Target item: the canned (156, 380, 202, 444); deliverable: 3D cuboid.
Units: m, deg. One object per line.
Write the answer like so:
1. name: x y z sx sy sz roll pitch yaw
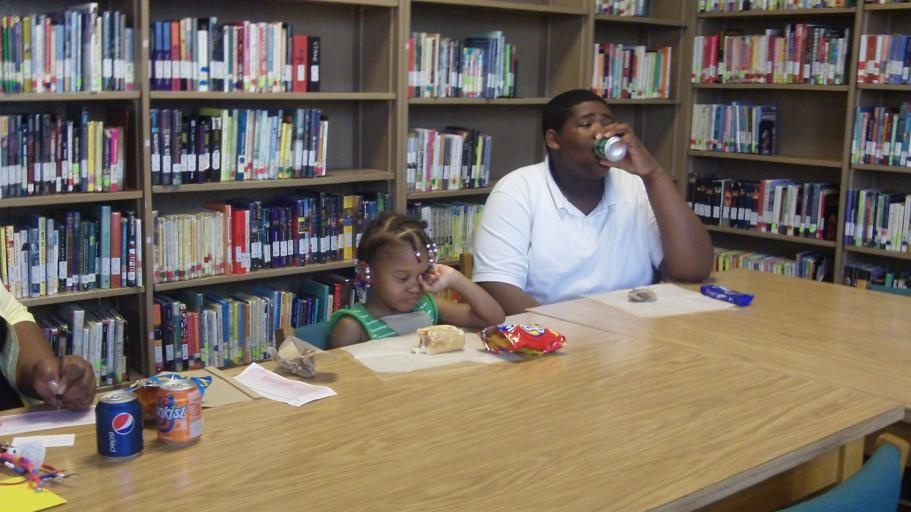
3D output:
1. canned: -0.746 0.423 1.866 0.112 0.159 0.086 0 14 8

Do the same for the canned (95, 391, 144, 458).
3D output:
1. canned: -0.883 0.447 1.812 0.102 0.163 0.088 3 14 20

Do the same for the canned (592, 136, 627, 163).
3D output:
1. canned: 0.658 -0.465 2.956 0.080 0.072 0.122 -27 8 -1

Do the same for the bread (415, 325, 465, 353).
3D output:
1. bread: -0.049 0.284 2.306 0.137 0.053 0.092 -5 7 -17

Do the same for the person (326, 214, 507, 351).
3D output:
1. person: -0.189 0.115 2.862 0.537 0.722 0.266 -16 15 -35
